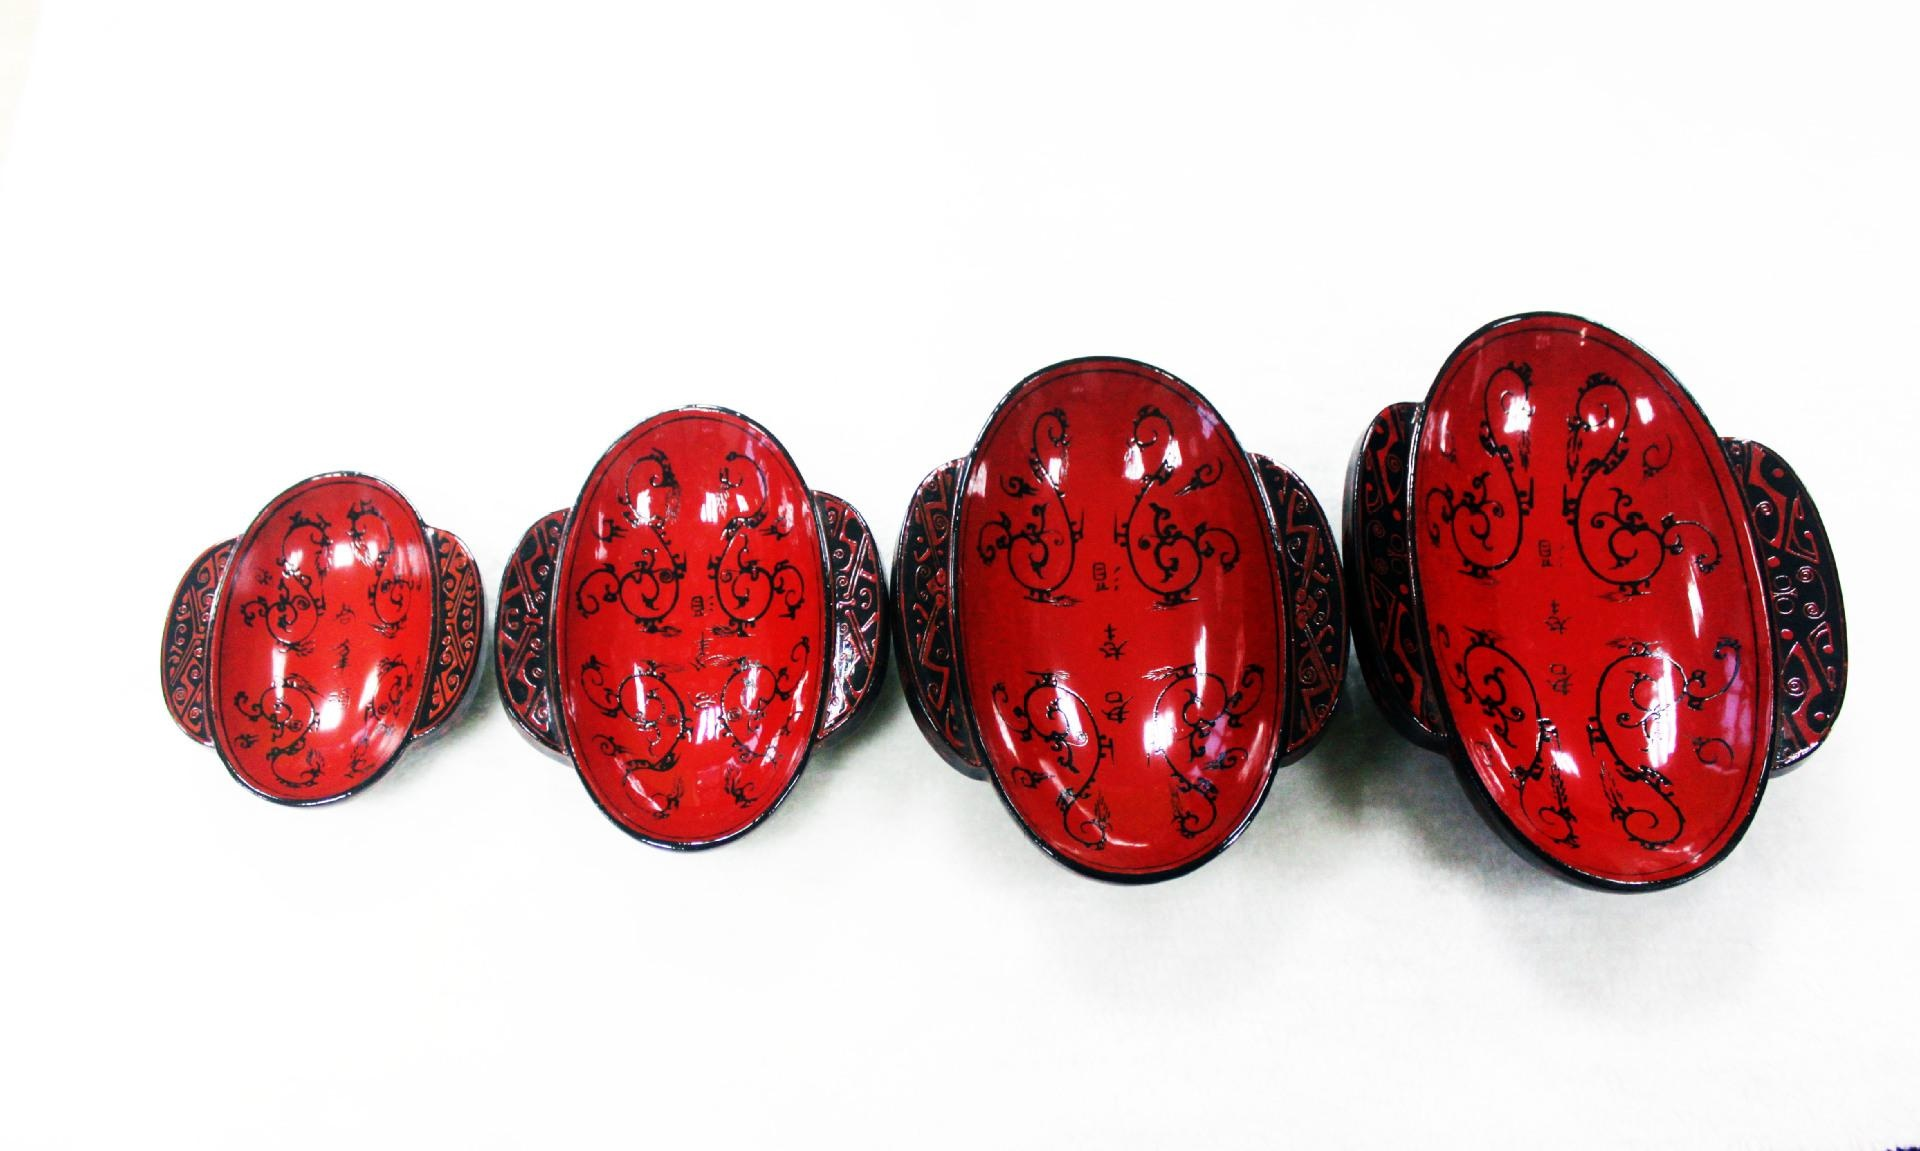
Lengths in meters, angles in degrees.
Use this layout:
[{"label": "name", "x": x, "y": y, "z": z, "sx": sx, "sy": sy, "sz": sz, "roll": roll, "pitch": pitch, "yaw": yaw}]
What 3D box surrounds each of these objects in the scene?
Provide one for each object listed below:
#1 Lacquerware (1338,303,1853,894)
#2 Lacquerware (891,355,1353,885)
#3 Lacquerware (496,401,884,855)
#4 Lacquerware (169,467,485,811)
[{"label": "Lacquerware", "x": 0.944, "y": 0.035, "z": 2.877, "sx": 0.661, "sy": 0.839, "sz": 0.397, "roll": -2, "pitch": 14, "yaw": 11}, {"label": "Lacquerware", "x": 0.249, "y": 0.060, "z": 2.864, "sx": 0.540, "sy": 0.750, "sz": 0.368, "roll": -7, "pitch": 14, "yaw": -7}, {"label": "Lacquerware", "x": -0.435, "y": 0.078, "z": 2.900, "sx": 0.634, "sy": 0.635, "sz": 0.332, "roll": -6, "pitch": 14, "yaw": -3}, {"label": "Lacquerware", "x": -1.013, "y": 0.098, "z": 2.988, "sx": 0.463, "sy": 0.490, "sz": 0.252, "roll": -8, "pitch": 14, "yaw": -9}]
